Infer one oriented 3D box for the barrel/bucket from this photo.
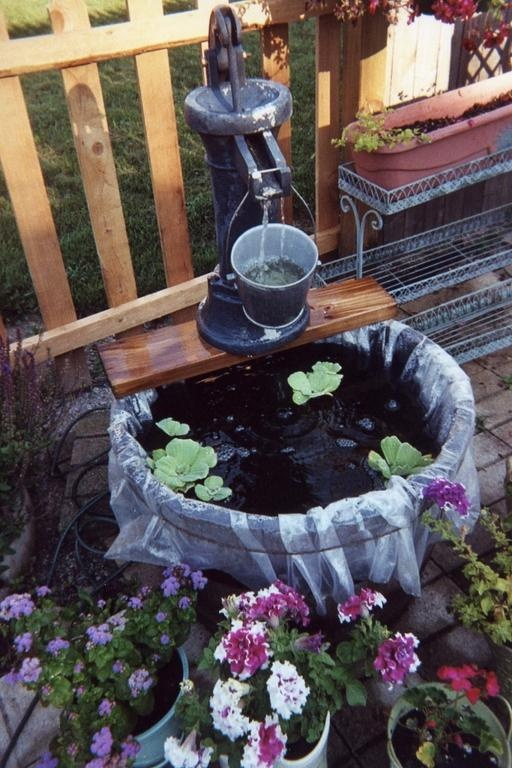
[{"bbox_3d":[0.042,-0.277,1.326,0.230,0.194,0.263,19,56,11],"label":"barrel/bucket"}]
